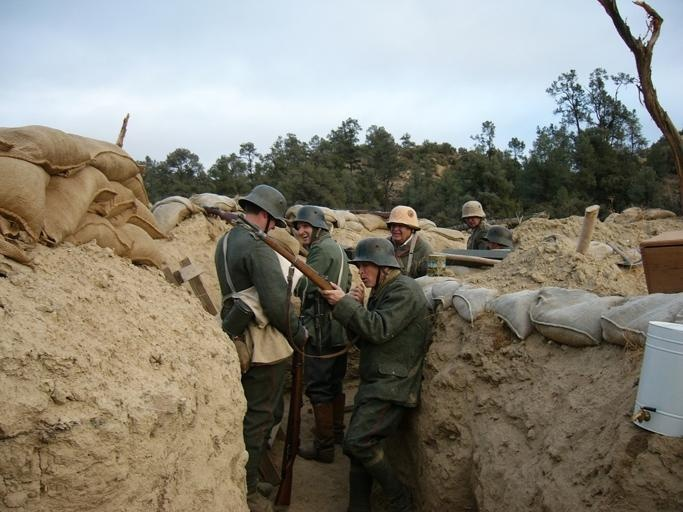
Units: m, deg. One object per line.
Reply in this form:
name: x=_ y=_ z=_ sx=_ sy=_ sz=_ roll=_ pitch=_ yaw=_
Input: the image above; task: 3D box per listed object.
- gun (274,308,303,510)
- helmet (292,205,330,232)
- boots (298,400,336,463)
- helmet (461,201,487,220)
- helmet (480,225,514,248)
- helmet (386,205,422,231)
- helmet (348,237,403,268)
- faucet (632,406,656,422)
gun: x=-0.437 y=1.289 z=5.410 sx=0.249 sy=1.674 sz=0.099 roll=8 pitch=-5 yaw=-19
helmet: x=-0.314 y=-0.395 z=6.623 sx=0.231 sy=0.196 sz=0.319 roll=4 pitch=-9 yaw=26
boots: x=-0.239 y=1.651 z=6.295 sx=0.365 sy=0.613 sz=0.172 roll=4 pitch=10 yaw=15
helmet: x=1.793 y=-0.621 z=8.853 sx=0.256 sy=0.231 sz=0.353 roll=2 pitch=5 yaw=16
helmet: x=1.910 y=-0.212 z=8.020 sx=0.330 sy=0.197 sz=0.248 roll=39 pitch=20 yaw=34
helmet: x=0.690 y=-0.439 z=7.052 sx=0.288 sy=0.183 sz=0.228 roll=27 pitch=-16 yaw=-36
helmet: x=0.306 y=-0.035 z=5.290 sx=0.298 sy=0.171 sz=0.238 roll=-2 pitch=6 yaw=-37
faucet: x=1.661 y=0.862 z=3.593 sx=0.100 sy=0.107 sz=0.063 roll=7 pitch=8 yaw=35
